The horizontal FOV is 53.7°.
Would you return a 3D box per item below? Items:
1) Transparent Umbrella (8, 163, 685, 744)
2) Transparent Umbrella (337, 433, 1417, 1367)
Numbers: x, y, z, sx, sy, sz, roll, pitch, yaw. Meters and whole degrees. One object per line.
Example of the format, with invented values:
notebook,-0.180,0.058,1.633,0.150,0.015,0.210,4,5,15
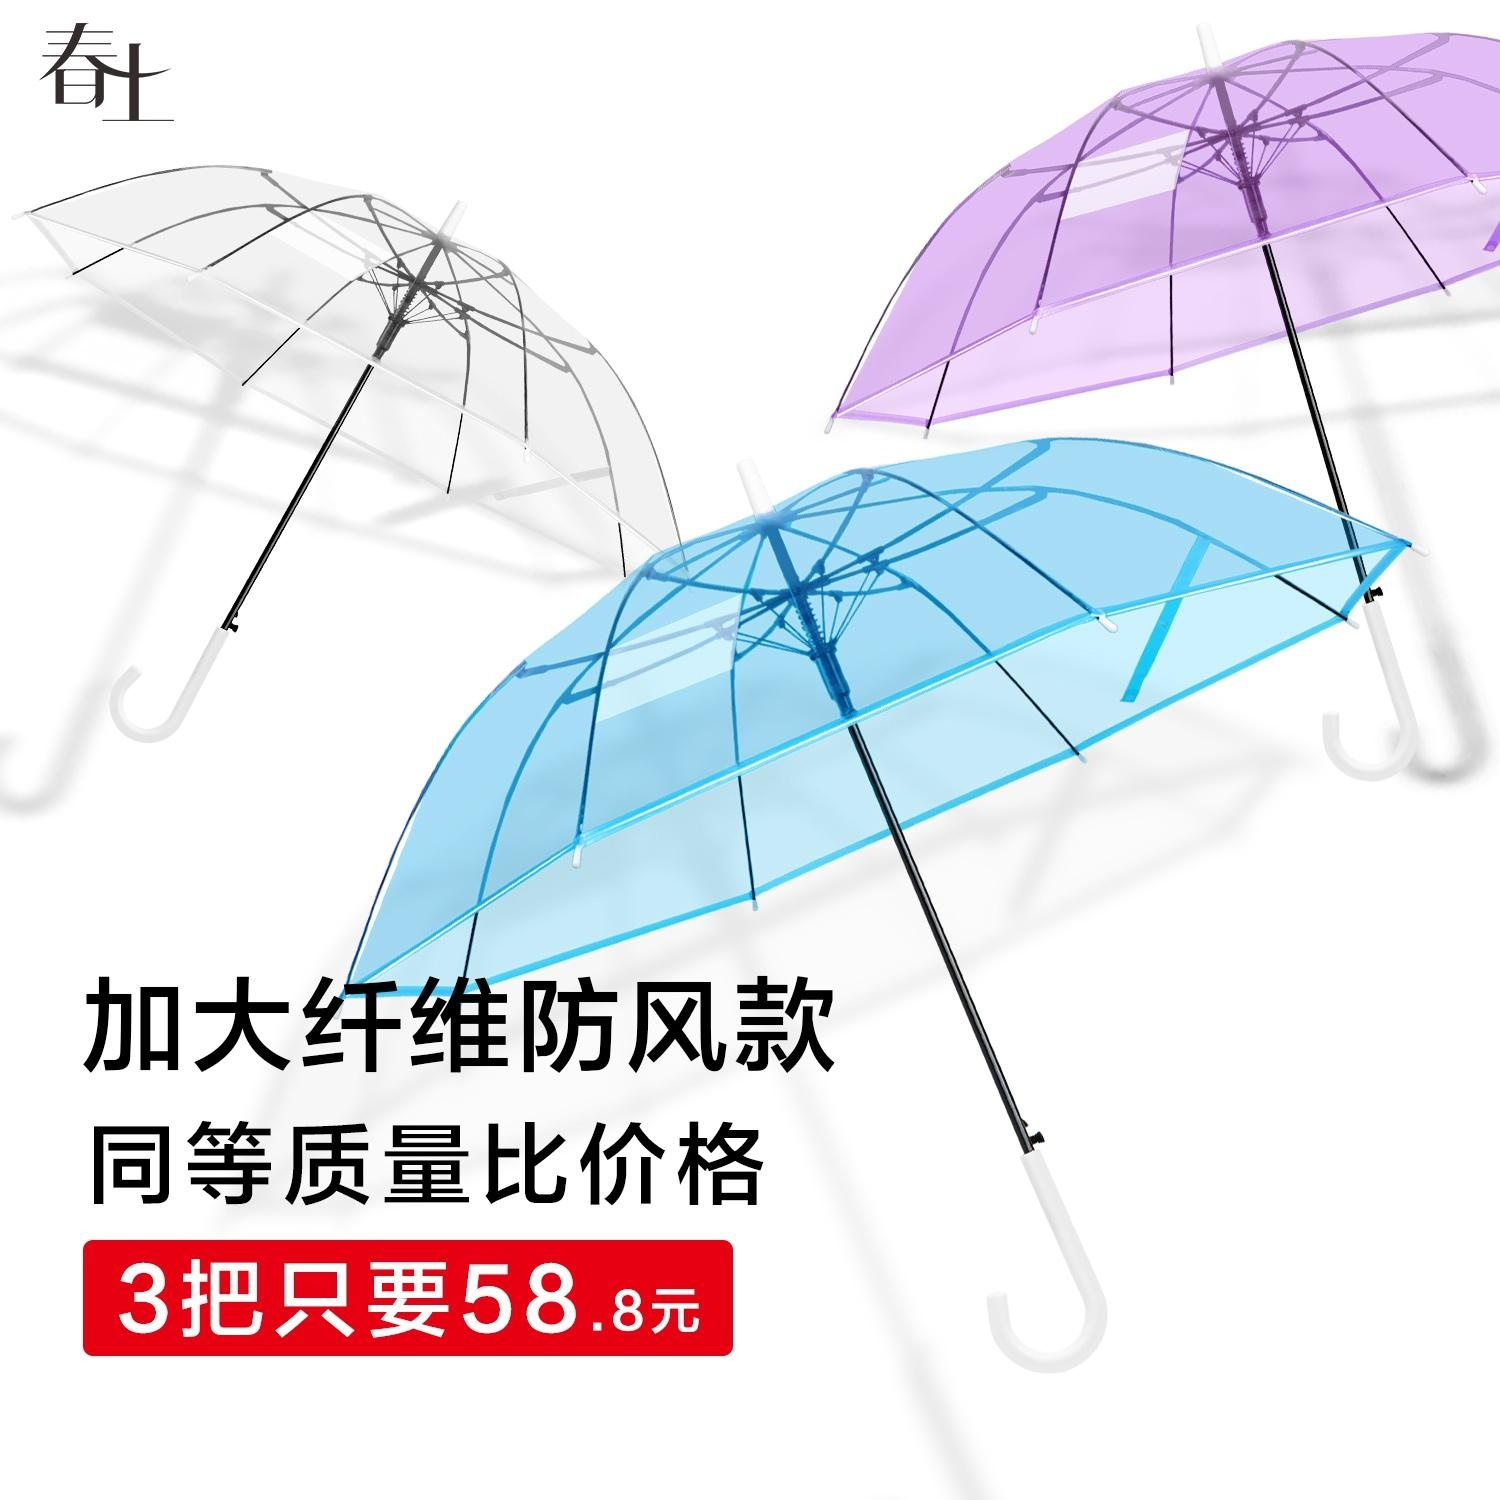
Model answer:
Transparent Umbrella,-0.768,-0.696,3.063,1.351,0.948,1.278,15,8,13
Transparent Umbrella,0.166,-0.016,2.268,1.580,0.702,0.702,-15,-33,21
